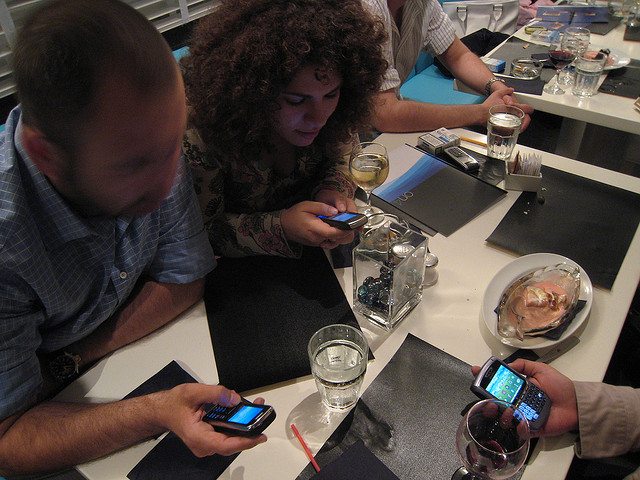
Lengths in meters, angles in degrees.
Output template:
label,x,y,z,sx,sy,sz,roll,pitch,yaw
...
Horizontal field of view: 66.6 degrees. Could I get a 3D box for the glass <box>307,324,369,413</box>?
label,x,y,z,sx,sy,sz,roll,pitch,yaw
glass,0.046,0.319,1.277,0.165,0.221,0.195,6,41,1

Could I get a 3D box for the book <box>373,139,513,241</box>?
label,x,y,z,sx,sy,sz,roll,pitch,yaw
book,0.447,-0.183,1.820,0.355,0.054,0.397,-34,50,-26

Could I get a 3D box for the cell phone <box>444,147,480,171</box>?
label,x,y,z,sx,sy,sz,roll,pitch,yaw
cell phone,0.571,-0.324,1.920,0.067,0.028,0.133,-26,52,-22

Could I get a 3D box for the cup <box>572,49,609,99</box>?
label,x,y,z,sx,sy,sz,roll,pitch,yaw
cup,1.275,-0.782,2.319,0.110,0.177,0.114,-3,31,2

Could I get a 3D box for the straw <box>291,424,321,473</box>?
label,x,y,z,sx,sy,sz,roll,pitch,yaw
straw,-0.036,0.528,1.212,0.014,0.014,0.109,-13,47,-38

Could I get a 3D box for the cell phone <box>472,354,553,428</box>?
label,x,y,z,sx,sy,sz,roll,pitch,yaw
cell phone,0.488,0.399,1.251,0.198,0.041,0.120,39,58,7

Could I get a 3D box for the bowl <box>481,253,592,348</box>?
label,x,y,z,sx,sy,sz,roll,pitch,yaw
bowl,0.632,0.182,1.411,0.290,0.079,0.232,-38,51,-15

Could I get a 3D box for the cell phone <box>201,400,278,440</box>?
label,x,y,z,sx,sy,sz,roll,pitch,yaw
cell phone,-0.183,0.424,1.155,0.160,0.045,0.086,0,28,36
